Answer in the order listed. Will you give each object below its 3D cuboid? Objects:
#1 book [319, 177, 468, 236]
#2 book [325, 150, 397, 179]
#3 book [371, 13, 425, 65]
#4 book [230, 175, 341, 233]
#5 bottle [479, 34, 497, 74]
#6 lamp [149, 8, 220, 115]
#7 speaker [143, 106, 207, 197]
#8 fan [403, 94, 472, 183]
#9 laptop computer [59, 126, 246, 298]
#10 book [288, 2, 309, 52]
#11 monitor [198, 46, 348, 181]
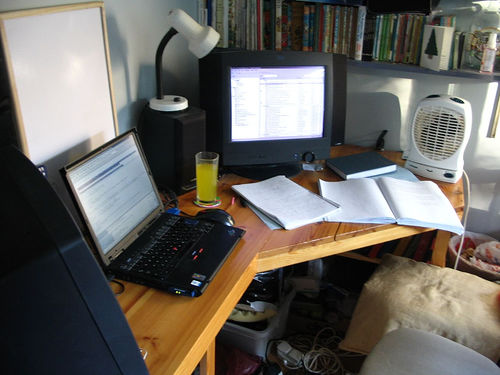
[{"bbox_3d":[0.541,0.056,1.490,0.543,0.109,0.359,0,25,0],"label":"book"},{"bbox_3d":[0.517,-0.104,1.725,0.314,0.039,0.182,-11,27,-22],"label":"book"},{"bbox_3d":[0.715,-0.710,1.854,0.215,0.228,0.052,10,23,18],"label":"book"},{"bbox_3d":[0.129,0.047,1.412,0.200,0.042,0.252,-16,33,-26],"label":"book"},{"bbox_3d":[1.067,-0.592,1.705,0.056,0.160,0.069,10,26,21],"label":"bottle"},{"bbox_3d":[-0.258,-0.482,1.466,0.276,0.360,0.237,-5,25,-11],"label":"lamp"},{"bbox_3d":[-0.271,-0.131,1.427,0.233,0.321,0.155,26,37,26],"label":"speaker"},{"bbox_3d":[0.800,-0.206,1.643,0.221,0.319,0.130,11,26,23],"label":"fan"},{"bbox_3d":[-0.248,0.052,1.099,0.406,0.297,0.408,8,24,6],"label":"laptop computer"},{"bbox_3d":[0.239,-0.789,1.864,0.139,0.252,0.259,-2,21,4],"label":"book"},{"bbox_3d":[0.142,-0.369,1.765,0.603,0.532,0.340,-4,26,-4],"label":"monitor"}]
